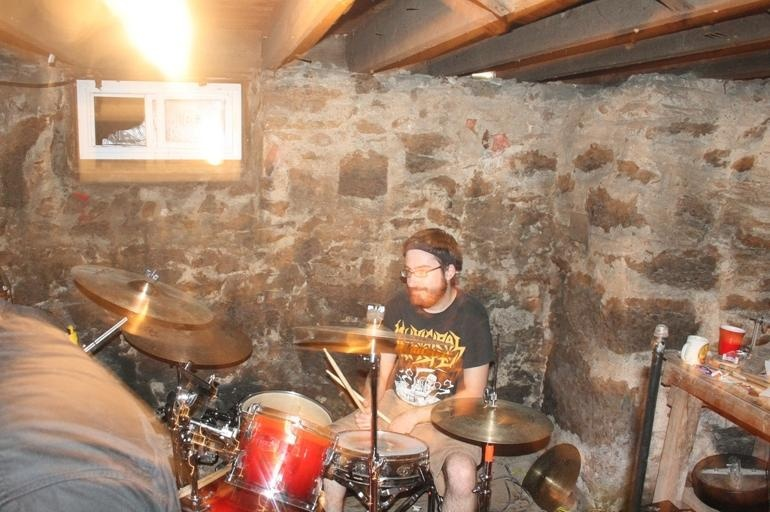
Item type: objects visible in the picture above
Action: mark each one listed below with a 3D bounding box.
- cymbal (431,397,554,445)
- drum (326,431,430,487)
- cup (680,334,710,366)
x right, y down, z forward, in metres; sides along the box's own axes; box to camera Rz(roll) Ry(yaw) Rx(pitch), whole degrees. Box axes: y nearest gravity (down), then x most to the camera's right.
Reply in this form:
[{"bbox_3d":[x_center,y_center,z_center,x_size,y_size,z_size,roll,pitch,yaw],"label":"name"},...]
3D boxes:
[{"bbox_3d":[0.569,0.922,2.945,0.644,0.213,0.417,4,6,5],"label":"cymbal"},{"bbox_3d":[-0.032,1.095,2.916,0.517,0.264,0.367,5,6,6],"label":"drum"},{"bbox_3d":[1.786,0.556,3.102,0.202,0.160,0.119,10,1,-28],"label":"cup"}]
